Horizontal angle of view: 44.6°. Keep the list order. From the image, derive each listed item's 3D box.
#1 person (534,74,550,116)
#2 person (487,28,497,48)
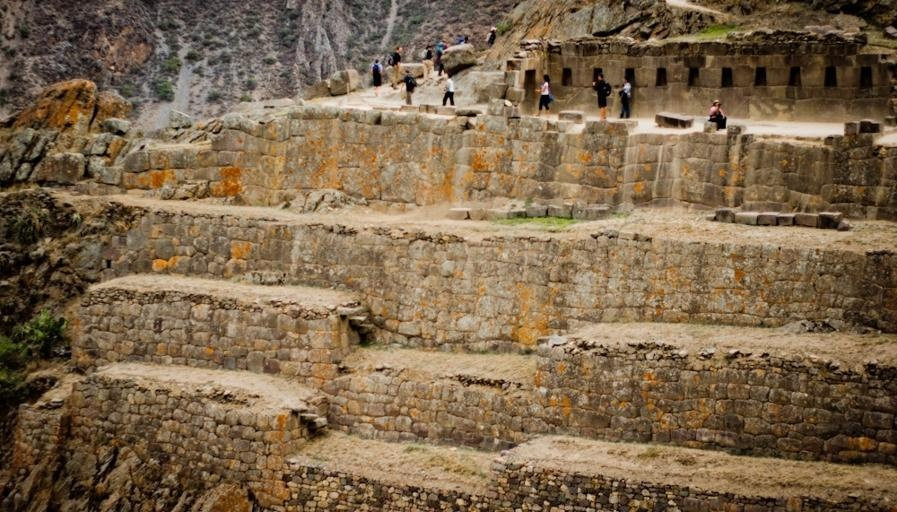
[{"bbox_3d":[3.777,-6.276,42.663,0.554,1.466,1.816,6,27,5],"label":"person"},{"bbox_3d":[2.100,-10.675,53.644,0.465,0.915,0.807,4,27,0],"label":"person"}]
